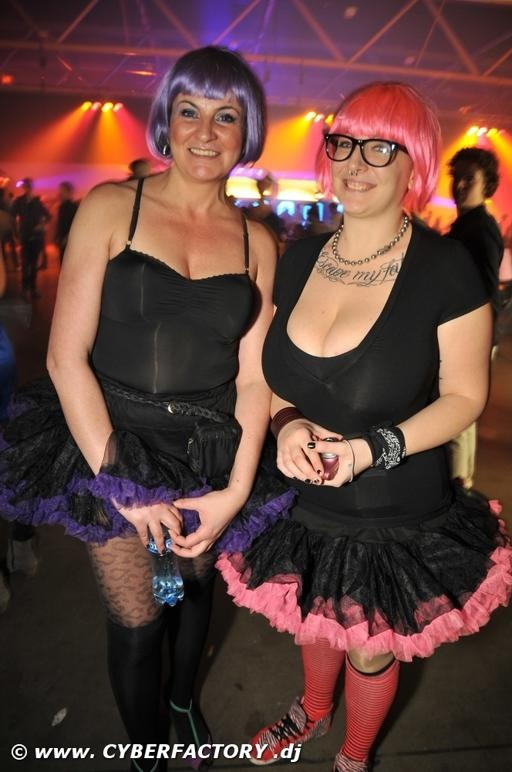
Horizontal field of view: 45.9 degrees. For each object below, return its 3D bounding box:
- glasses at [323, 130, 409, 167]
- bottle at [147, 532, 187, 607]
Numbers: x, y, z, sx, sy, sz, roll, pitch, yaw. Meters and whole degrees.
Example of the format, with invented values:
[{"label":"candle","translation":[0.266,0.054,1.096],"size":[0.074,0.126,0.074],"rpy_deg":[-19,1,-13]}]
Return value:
[{"label":"glasses","translation":[0.256,-0.595,1.527],"size":[0.222,0.070,0.103],"rpy_deg":[27,32,35]},{"label":"bottle","translation":[-0.240,0.503,1.567],"size":[0.098,0.292,0.107],"rpy_deg":[6,26,-3]}]
